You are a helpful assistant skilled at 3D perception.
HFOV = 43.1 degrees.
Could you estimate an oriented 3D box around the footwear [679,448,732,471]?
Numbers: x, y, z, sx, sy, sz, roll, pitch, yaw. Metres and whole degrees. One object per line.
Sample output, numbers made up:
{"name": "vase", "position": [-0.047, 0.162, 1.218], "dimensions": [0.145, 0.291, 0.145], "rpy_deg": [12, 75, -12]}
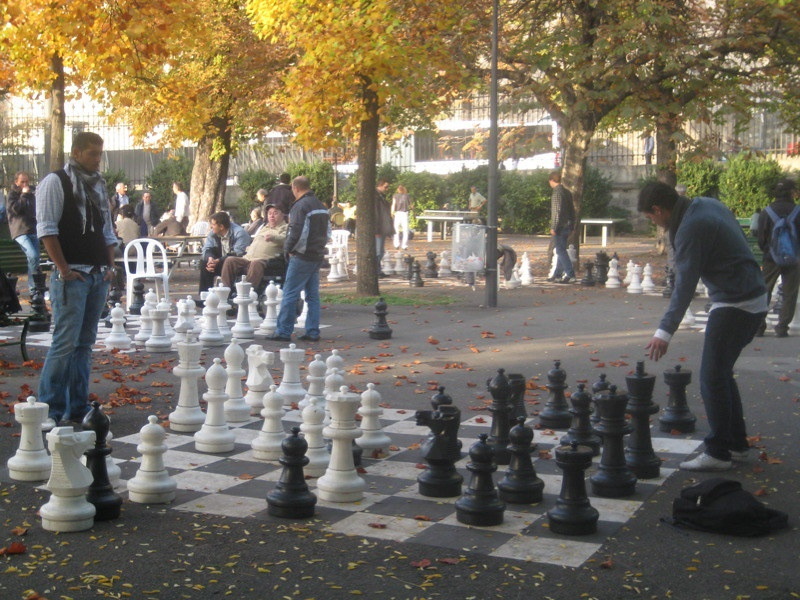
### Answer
{"name": "footwear", "position": [2.382, 1.256, 7.980], "dimensions": [0.414, 0.166, 0.150], "rpy_deg": [2, -1, 3]}

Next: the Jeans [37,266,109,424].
{"name": "Jeans", "position": [-2.883, 0.395, 8.924], "dimensions": [0.316, 1.336, 0.592], "rpy_deg": [0, 3, 27]}

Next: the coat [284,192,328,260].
{"name": "coat", "position": [-1.166, -0.915, 12.693], "dimensions": [0.469, 0.888, 0.678], "rpy_deg": [0, 4, 18]}

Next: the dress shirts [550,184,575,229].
{"name": "dress shirts", "position": [3.077, -1.772, 19.100], "dimensions": [0.299, 0.530, 0.996], "rpy_deg": [2, 11, 23]}

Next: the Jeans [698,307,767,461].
{"name": "Jeans", "position": [2.591, 0.655, 8.006], "dimensions": [0.485, 1.201, 0.239], "rpy_deg": [-2, 3, -20]}

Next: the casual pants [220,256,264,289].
{"name": "casual pants", "position": [-2.270, -0.418, 14.541], "dimensions": [0.514, 0.634, 0.542], "rpy_deg": [0, -28, 7]}

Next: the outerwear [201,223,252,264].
{"name": "outerwear", "position": [-2.593, -0.841, 15.233], "dimensions": [0.558, 0.656, 0.731], "rpy_deg": [7, 6, 35]}

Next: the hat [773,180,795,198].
{"name": "hat", "position": [4.800, -1.384, 12.666], "dimensions": [0.211, 0.251, 0.301], "rpy_deg": [0, 2, 17]}

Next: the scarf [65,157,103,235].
{"name": "scarf", "position": [-2.767, -0.989, 8.912], "dimensions": [0.415, 0.516, 0.170], "rpy_deg": [1, 7, 5]}
